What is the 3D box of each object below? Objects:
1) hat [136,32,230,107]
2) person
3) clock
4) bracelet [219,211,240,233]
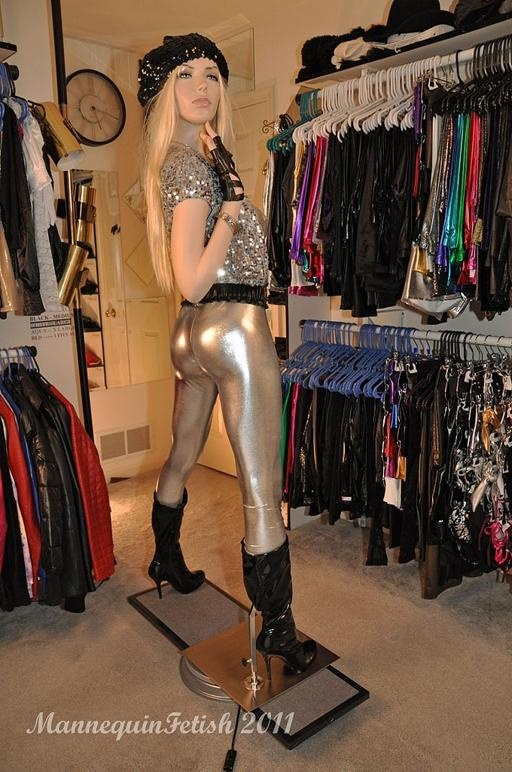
[{"bbox_3d":[-0.225,-0.819,1.465,0.173,0.090,0.208,-25,-5,-25],"label":"hat"},{"bbox_3d":[-0.099,-0.055,1.614,0.401,1.715,0.585,-3,6,-17],"label":"person"},{"bbox_3d":[-0.978,-1.727,3.511,0.074,0.472,0.397,4,8,42],"label":"clock"},{"bbox_3d":[-0.064,-0.389,1.326,0.046,0.045,0.033,-3,6,-16],"label":"bracelet"}]
